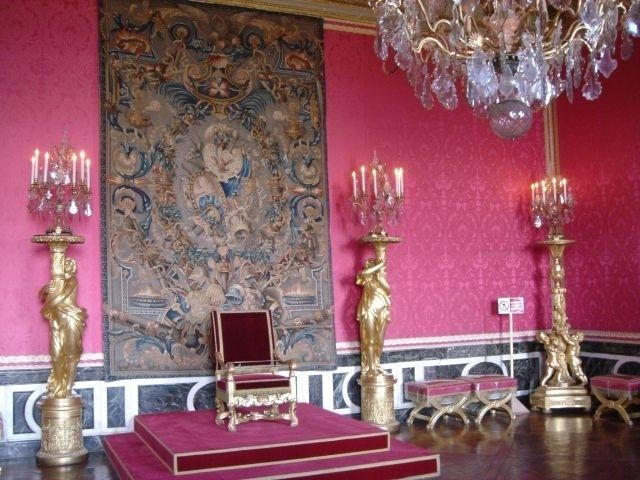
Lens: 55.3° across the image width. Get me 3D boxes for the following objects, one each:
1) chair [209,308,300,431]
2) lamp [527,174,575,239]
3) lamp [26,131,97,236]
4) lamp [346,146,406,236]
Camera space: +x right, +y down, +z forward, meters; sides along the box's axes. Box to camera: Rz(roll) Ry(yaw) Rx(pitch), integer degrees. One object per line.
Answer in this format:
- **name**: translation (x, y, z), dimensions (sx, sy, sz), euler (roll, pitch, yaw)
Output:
- **chair**: translation (-0.708, 1.318, 6.449), dimensions (0.827, 1.152, 0.968), euler (-1, -4, -10)
- **lamp**: translation (3.036, -0.421, 7.985), dimensions (0.434, 0.726, 0.451), euler (-1, 2, -14)
- **lamp**: translation (-2.687, -0.506, 6.375), dimensions (0.594, 0.993, 0.626), euler (-1, -8, 5)
- **lamp**: translation (0.725, -0.523, 7.450), dimensions (0.636, 1.038, 0.616), euler (-11, -18, 42)
